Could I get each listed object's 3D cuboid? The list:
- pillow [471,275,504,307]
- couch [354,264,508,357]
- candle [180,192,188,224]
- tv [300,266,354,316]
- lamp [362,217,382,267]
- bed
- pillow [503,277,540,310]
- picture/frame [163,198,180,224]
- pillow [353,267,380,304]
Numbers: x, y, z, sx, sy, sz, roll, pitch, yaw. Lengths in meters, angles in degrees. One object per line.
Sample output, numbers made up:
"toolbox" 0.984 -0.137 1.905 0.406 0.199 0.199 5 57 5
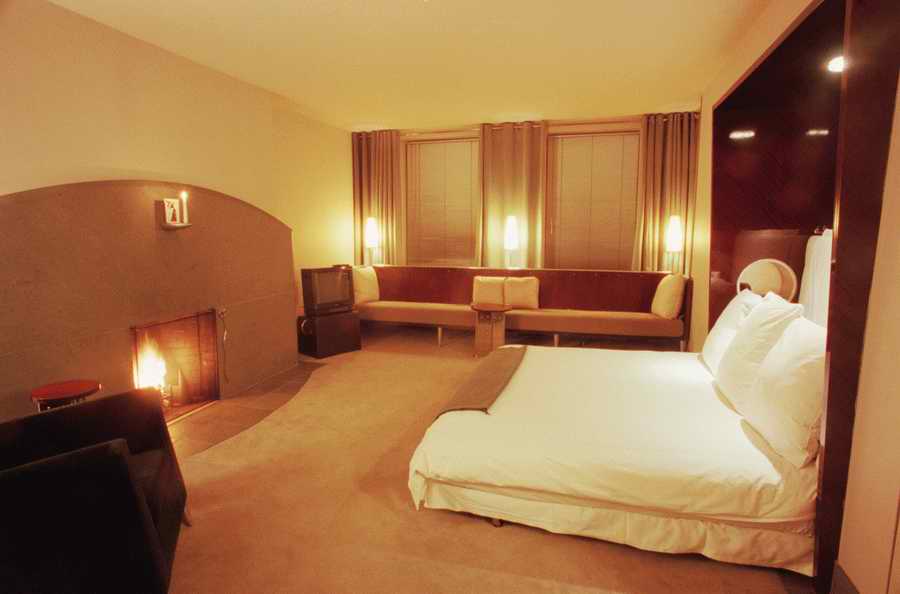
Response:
"pillow" 0.414 -0.061 6.950 0.355 0.347 0.143 1 -1 8
"couch" -0.151 0.088 7.306 1.782 0.733 0.544 3 17 10
"candle" -2.077 -0.701 4.952 0.060 0.244 0.121 -5 12 -19
"tv" -1.297 -0.083 6.635 0.265 0.448 0.539 3 7 43
"lamp" -0.974 -0.711 8.031 0.222 0.610 0.308 -4 11 -11
"bed" 1.113 0.610 4.008 1.991 1.240 2.038 3 7 23
"pillow" 0.768 -0.037 6.937 0.356 0.352 0.128 2 1 8
"picture/frame" -2.124 -0.657 4.848 0.126 0.193 0.072 -12 16 -43
"pillow" -1.033 -0.145 7.546 0.218 0.447 0.616 9 8 18
